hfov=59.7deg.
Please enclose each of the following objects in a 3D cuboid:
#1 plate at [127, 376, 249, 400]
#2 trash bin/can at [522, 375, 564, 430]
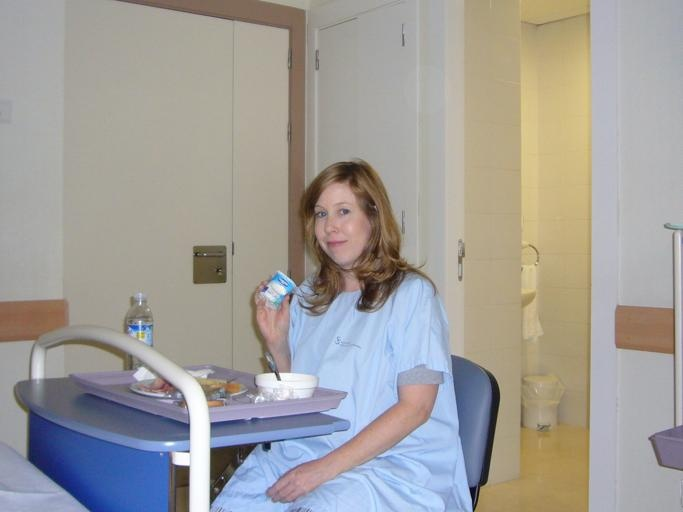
[{"bbox_3d":[-0.402,0.347,1.544,0.150,0.021,0.168,1,-1,20],"label":"plate"},{"bbox_3d":[1.408,1.003,4.242,0.305,0.367,0.344,8,-10,-43],"label":"trash bin/can"}]
